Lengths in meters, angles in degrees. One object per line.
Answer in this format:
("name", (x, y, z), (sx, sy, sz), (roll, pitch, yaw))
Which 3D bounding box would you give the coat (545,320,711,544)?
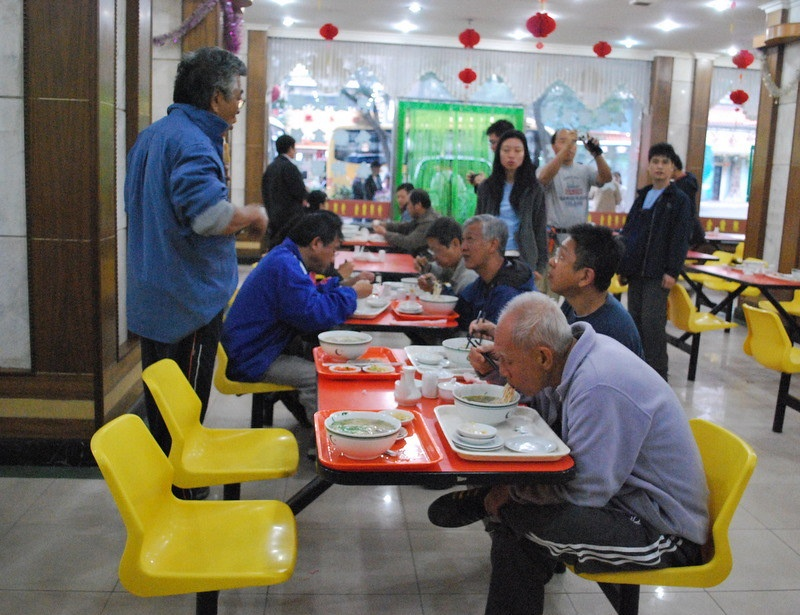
("coat", (0.742, 0.304, 2.278), (0.535, 0.751, 0.711), (-2, 6, 17))

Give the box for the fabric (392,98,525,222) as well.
("fabric", (0.936, -2.346, 10.518), (1.906, 1.988, 0.126), (1, 25, 4))

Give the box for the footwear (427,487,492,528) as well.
("footwear", (0.222, 0.774, 2.501), (0.303, 0.107, 0.121), (-8, 4, 8))

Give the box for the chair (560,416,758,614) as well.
("chair", (0.770, 0.669, 2.318), (0.655, 0.797, 0.555), (0, 3, 0))

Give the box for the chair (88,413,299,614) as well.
("chair", (-0.619, 0.646, 2.236), (0.650, 0.893, 0.651), (0, 14, -5))

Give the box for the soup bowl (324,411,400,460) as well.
("soup bowl", (-0.115, 0.376, 2.003), (0.229, 0.089, 0.297), (-1, 13, -7))

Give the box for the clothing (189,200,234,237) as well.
("clothing", (-0.787, -0.381, 2.716), (0.147, 0.152, 0.120), (3, 13, 13))

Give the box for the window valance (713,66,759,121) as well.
("window valance", (5.558, -3.552, 10.624), (1.075, 0.800, 0.469), (-4, 14, -20))
